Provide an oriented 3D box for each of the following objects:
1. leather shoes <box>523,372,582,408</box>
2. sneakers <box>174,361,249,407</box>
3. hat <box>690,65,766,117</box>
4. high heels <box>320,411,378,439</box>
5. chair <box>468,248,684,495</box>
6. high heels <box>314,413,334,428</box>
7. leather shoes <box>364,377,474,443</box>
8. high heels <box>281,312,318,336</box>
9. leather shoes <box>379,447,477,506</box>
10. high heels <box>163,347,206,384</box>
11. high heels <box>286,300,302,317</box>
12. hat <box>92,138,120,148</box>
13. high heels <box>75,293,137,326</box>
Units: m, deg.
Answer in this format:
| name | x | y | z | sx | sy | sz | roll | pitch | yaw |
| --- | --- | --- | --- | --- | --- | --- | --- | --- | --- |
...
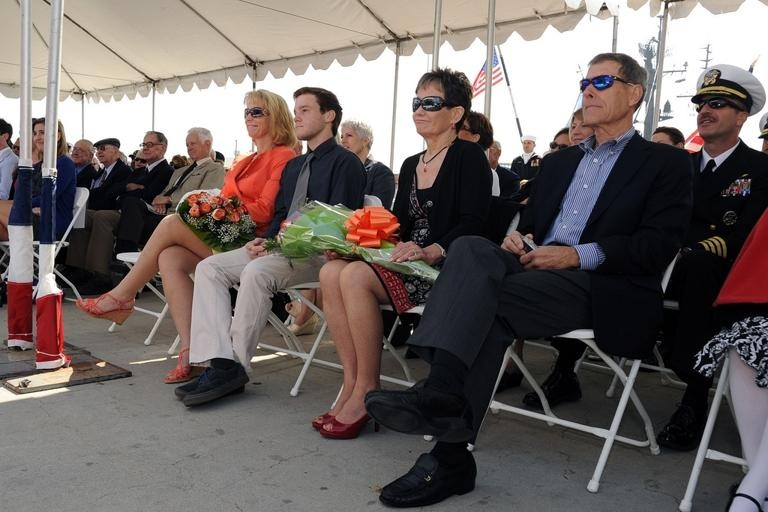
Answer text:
| name | x | y | z | sx | sy | sz | roll | pitch | yaw |
| --- | --- | --- | --- | --- | --- | --- | --- | --- | --- |
| leather shoes | 1.178 | 0.931 | 4.053 | 0.534 | 0.221 | 0.187 | -7 | 12 | -28 |
| sneakers | -1.123 | 0.827 | 3.765 | 0.432 | 0.159 | 0.232 | 1 | 5 | -40 |
| hat | 2.414 | -1.183 | 4.047 | 0.434 | 0.200 | 0.357 | 22 | -8 | -18 |
| high heels | -0.213 | 1.026 | 3.491 | 0.292 | 0.175 | 0.151 | 12 | -11 | -19 |
| chair | 1.112 | 0.637 | 3.664 | 1.007 | 1.470 | 1.094 | 1 | -21 | 13 |
| high heels | -0.369 | 1.003 | 3.479 | 0.135 | 0.045 | 0.068 | -3 | 7 | -36 |
| leather shoes | 0.189 | 0.747 | 2.825 | 0.587 | 0.219 | 0.273 | 13 | 29 | -9 |
| high heels | -0.760 | 0.667 | 5.484 | 0.435 | 0.172 | 0.151 | 10 | -13 | -42 |
| leather shoes | 0.250 | 1.123 | 2.973 | 0.535 | 0.211 | 0.205 | -5 | 8 | -30 |
| high heels | -1.427 | 0.795 | 4.128 | 0.182 | 0.132 | 0.329 | 9 | 7 | 23 |
| high heels | -0.839 | 0.500 | 5.409 | 0.173 | 0.119 | 0.160 | 13 | -12 | -9 |
| hat | -4.240 | -1.765 | 8.901 | 0.217 | 0.088 | 0.262 | 5 | 6 | 40 |
| high heels | -2.111 | 0.409 | 4.441 | 0.403 | 0.160 | 0.219 | 17 | 20 | -41 |
